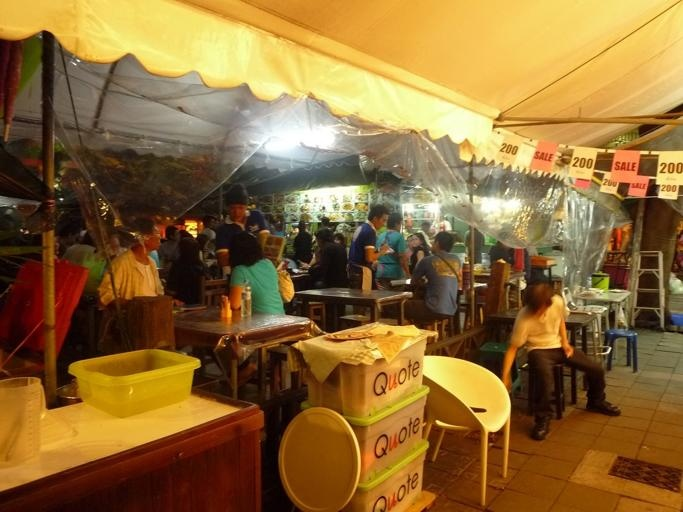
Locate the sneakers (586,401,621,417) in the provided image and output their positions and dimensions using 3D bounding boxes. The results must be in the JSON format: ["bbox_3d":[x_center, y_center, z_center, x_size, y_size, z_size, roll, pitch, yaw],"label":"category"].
[{"bbox_3d":[2.995,1.734,5.694,0.326,0.105,0.156,-4,-2,35],"label":"sneakers"}]

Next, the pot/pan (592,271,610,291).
[{"bbox_3d":[4.738,0.450,9.057,0.385,0.307,0.366,-1,0,28],"label":"pot/pan"}]

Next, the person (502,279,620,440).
[{"bbox_3d":[2.256,1.044,5.264,1.211,1.435,1.083,-16,17,-36],"label":"person"}]

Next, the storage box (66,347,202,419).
[{"bbox_3d":[-1.015,0.613,2.425,0.392,0.145,0.459,4,4,41],"label":"storage box"}]

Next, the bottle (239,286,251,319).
[{"bbox_3d":[-0.885,0.401,4.546,0.085,0.274,0.208,-2,5,-17],"label":"bottle"}]

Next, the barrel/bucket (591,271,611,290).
[{"bbox_3d":[4.752,0.443,9.072,0.390,0.303,0.342,0,-3,-24],"label":"barrel/bucket"}]

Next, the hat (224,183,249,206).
[{"bbox_3d":[-1.172,-0.690,5.435,0.263,0.205,0.244,2,6,8],"label":"hat"}]

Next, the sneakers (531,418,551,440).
[{"bbox_3d":[2.045,1.735,5.106,0.170,0.177,0.334,1,4,22],"label":"sneakers"}]
